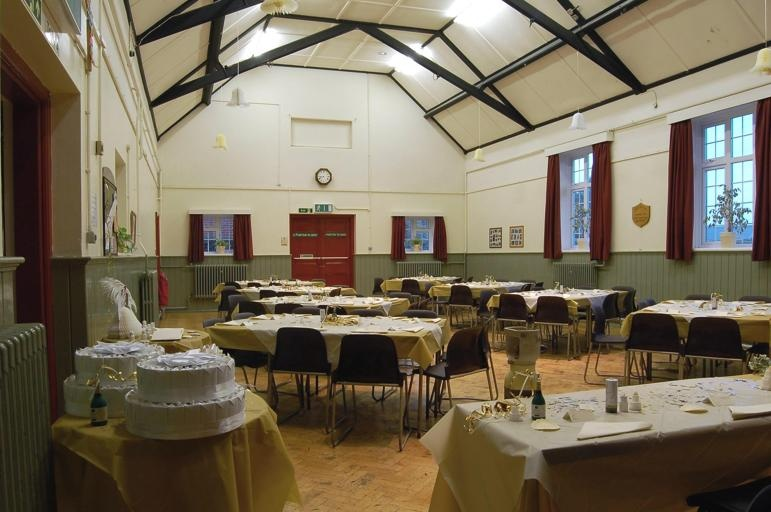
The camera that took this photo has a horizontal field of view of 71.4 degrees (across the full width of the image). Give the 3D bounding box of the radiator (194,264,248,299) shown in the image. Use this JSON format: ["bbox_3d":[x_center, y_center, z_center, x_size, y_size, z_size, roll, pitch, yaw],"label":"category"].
[{"bbox_3d":[-3.911,0.598,12.454,0.851,0.605,0.100,0,-2,-15],"label":"radiator"}]

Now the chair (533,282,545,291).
[{"bbox_3d":[3.065,0.604,10.797,0.119,0.143,0.196,3,8,-6],"label":"chair"}]

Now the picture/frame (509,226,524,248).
[{"bbox_3d":[3.317,-0.499,13.550,0.044,0.592,0.529,5,-6,-33],"label":"picture/frame"}]

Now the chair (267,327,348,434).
[{"bbox_3d":[-0.821,1.125,5.724,0.775,1.345,0.966,0,4,4],"label":"chair"}]

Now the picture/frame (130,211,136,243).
[{"bbox_3d":[-3.639,-0.435,7.742,0.052,0.459,0.904,-2,9,-23],"label":"picture/frame"}]

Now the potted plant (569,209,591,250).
[{"bbox_3d":[4.331,-0.631,11.907,0.303,0.922,0.906,0,9,-10],"label":"potted plant"}]

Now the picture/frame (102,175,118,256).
[{"bbox_3d":[-2.995,-0.434,5.811,0.069,0.886,0.808,-2,9,-22],"label":"picture/frame"}]

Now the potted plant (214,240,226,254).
[{"bbox_3d":[-4.237,-0.236,13.730,0.290,0.368,0.298,8,11,37],"label":"potted plant"}]

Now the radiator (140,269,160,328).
[{"bbox_3d":[-3.520,0.627,7.981,0.276,1.029,0.842,-1,-19,-21],"label":"radiator"}]

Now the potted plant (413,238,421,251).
[{"bbox_3d":[0.874,-0.336,15.151,0.303,0.352,0.306,0,-3,-2],"label":"potted plant"}]

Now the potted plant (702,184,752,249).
[{"bbox_3d":[5.831,-0.685,9.216,0.427,1.043,0.664,0,9,-13],"label":"potted plant"}]

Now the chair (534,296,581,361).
[{"bbox_3d":[2.781,1.043,8.685,0.707,1.028,1.756,5,9,22],"label":"chair"}]

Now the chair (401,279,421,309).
[{"bbox_3d":[0.628,0.739,11.637,0.411,0.595,0.428,1,-2,8],"label":"chair"}]

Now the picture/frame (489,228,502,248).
[{"bbox_3d":[2.938,-0.499,14.331,0.026,0.624,0.521,0,2,-24],"label":"picture/frame"}]

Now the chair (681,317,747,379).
[{"bbox_3d":[3.559,0.951,5.863,0.477,0.848,0.583,0,-2,21],"label":"chair"}]

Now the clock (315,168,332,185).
[{"bbox_3d":[-1.655,-2.129,14.413,0.467,0.465,0.154,1,9,-10],"label":"clock"}]

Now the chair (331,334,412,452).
[{"bbox_3d":[-0.141,1.223,5.519,0.911,1.509,0.974,0,5,5],"label":"chair"}]
